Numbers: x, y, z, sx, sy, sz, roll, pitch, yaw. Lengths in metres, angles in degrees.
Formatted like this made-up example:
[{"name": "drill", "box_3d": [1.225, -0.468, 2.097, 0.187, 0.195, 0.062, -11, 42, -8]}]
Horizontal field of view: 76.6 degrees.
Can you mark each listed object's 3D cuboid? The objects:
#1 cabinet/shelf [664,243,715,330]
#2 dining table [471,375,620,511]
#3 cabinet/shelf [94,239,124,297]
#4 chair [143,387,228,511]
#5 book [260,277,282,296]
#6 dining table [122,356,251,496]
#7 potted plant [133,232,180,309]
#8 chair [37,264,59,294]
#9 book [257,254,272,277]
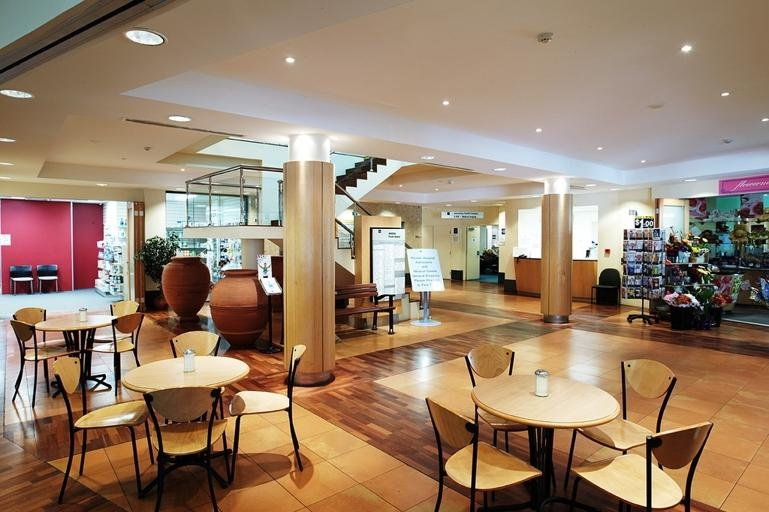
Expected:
[{"name": "cabinet/shelf", "box_3d": [7.306, 0.586, 11.623, 1.112, 2.009, 2.032, 1, 3, 29]}, {"name": "dining table", "box_3d": [1.755, 1.613, 5.017, 1.427, 0.948, 1.424, 4, 5, 38]}, {"name": "cabinet/shelf", "box_3d": [-8.754, 0.398, 15.501, 0.705, 1.807, 1.995, -1, 2, -39]}, {"name": "chair", "box_3d": [-2.037, 1.907, 5.095, 0.762, 1.291, 0.826, -2, 3, -18]}, {"name": "book", "box_3d": [-2.108, 0.550, 9.048, 0.374, 0.350, 0.290, -2, 3, -18]}, {"name": "dining table", "box_3d": [-2.175, 1.800, 5.447, 1.273, 0.780, 1.279, 11, 13, 38]}, {"name": "potted plant", "box_3d": [-6.050, 0.248, 13.060, 1.044, 1.767, 0.742, -2, 3, -22]}, {"name": "chair", "box_3d": [-11.177, 0.712, 16.178, 0.627, 0.894, 0.580, -3, 3, -35]}, {"name": "book", "box_3d": [-2.211, 0.184, 9.050, 0.225, 0.408, 0.136, -2, 3, -27]}]
